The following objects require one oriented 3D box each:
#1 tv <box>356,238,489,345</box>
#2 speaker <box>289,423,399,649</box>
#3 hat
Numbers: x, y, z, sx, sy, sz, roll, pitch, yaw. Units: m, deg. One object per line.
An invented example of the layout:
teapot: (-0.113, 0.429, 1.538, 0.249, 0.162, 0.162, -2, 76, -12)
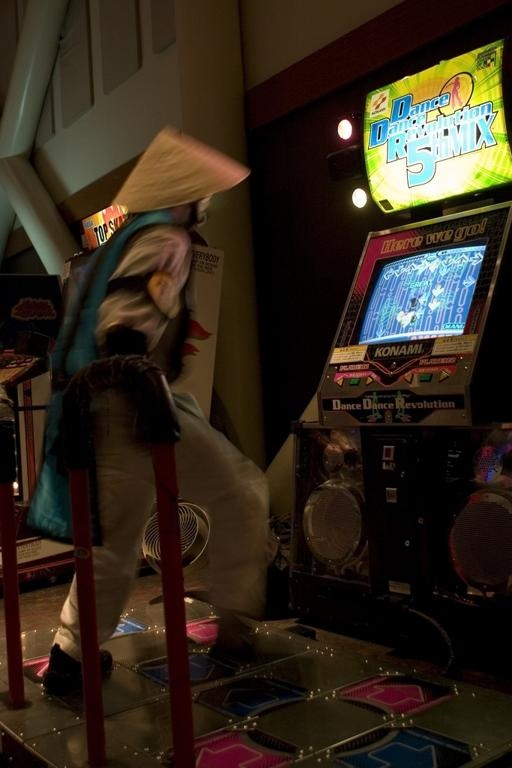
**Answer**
tv: (0.565, -0.323, 2.071, 0.477, 0.377, 0.009, -9, 34, -16)
speaker: (0.274, 0.509, 2.210, 0.134, 0.740, 0.473, 6, -12, -41)
hat: (-0.196, -0.538, 1.692, 0.278, 0.128, 0.248, -12, 28, 9)
